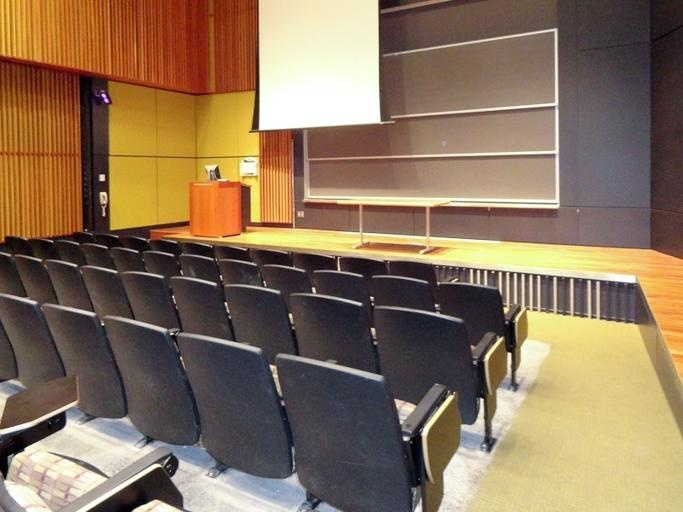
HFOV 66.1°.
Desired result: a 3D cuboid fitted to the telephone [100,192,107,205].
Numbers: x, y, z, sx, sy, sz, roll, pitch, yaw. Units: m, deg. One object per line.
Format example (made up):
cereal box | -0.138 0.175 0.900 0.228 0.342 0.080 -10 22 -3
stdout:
telephone | -4.535 -1.115 10.035 0.165 0.199 0.185 4 0 20
